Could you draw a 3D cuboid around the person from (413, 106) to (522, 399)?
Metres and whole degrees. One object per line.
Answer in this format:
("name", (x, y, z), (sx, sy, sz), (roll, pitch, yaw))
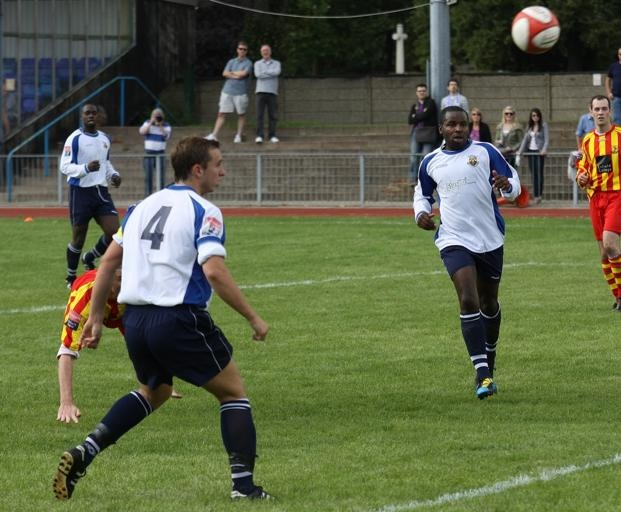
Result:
("person", (1.588, -0.097, 13.692), (0.777, 2.714, 1.170), (-3, 5, -23))

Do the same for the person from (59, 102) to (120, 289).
("person", (-2.889, -0.729, 18.236), (0.769, 2.373, 1.113), (0, -2, -41))

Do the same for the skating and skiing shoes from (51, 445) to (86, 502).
("skating and skiing shoes", (-2.018, 1.876, 11.763), (0.190, 0.525, 0.257), (21, 7, 22))

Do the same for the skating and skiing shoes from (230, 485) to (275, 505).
("skating and skiing shoes", (-0.488, 2.083, 11.798), (0.389, 0.157, 0.132), (0, 0, -7))

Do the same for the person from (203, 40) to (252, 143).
("person", (-1.587, -3.237, 27.628), (0.854, 2.013, 0.606), (2, 9, -13))

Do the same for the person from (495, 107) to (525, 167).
("person", (3.407, -1.819, 24.188), (0.475, 1.423, 0.441), (9, 18, 34))

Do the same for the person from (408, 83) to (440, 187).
("person", (2.009, -2.143, 25.046), (0.575, 1.753, 0.425), (3, 7, 39))

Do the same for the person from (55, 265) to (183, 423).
("person", (-2.048, 0.844, 12.858), (1.024, 1.475, 0.414), (-4, 9, -8))

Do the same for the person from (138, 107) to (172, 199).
("person", (-2.829, -1.851, 25.687), (0.577, 1.673, 0.467), (0, -2, -10))

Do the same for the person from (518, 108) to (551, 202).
("person", (3.838, -1.703, 24.069), (0.462, 1.657, 0.806), (1, 5, 16))
